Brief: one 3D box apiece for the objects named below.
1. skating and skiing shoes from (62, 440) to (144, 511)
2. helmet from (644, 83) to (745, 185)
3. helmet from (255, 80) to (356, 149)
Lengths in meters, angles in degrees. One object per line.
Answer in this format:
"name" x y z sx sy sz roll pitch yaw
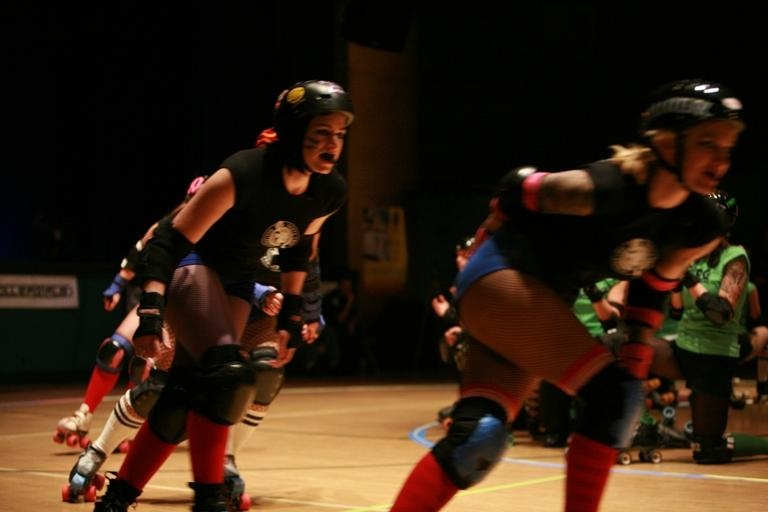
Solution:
"skating and skiing shoes" -1.641 1.261 4.492 0.258 0.431 0.233 16 -28 4
"helmet" 1.237 -0.539 3.265 0.492 0.431 0.385 -2 1 35
"helmet" -0.433 -0.693 3.974 0.456 0.377 0.329 7 -20 7
